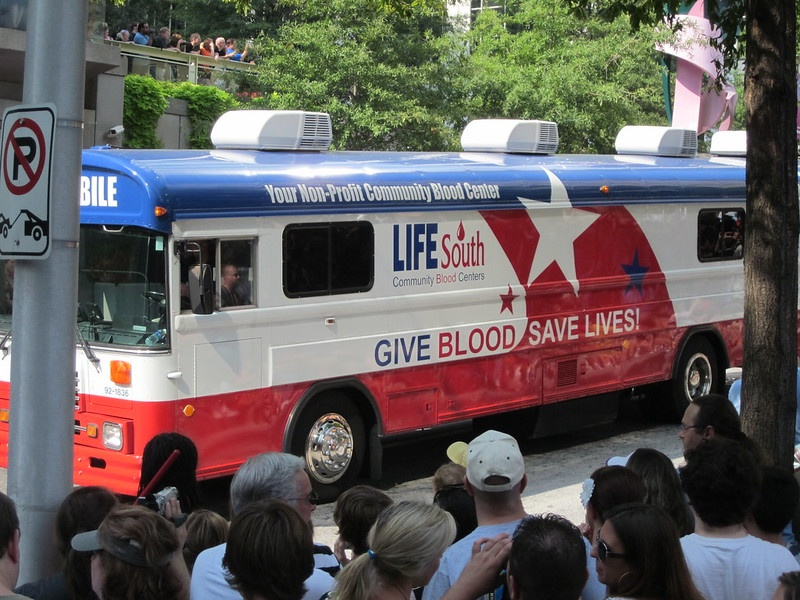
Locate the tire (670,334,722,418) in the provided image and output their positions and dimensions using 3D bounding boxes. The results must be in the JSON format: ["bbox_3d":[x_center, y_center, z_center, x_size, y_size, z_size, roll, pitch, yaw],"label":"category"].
[{"bbox_3d":[4.439,1.186,12.547,1.110,1.229,0.359,8,-2,-34],"label":"tire"}]

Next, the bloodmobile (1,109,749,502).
[{"bbox_3d":[1.306,-0.183,11.523,11.353,4.068,3.625,-4,4,-43],"label":"bloodmobile"}]

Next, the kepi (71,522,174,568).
[{"bbox_3d":[-1.218,1.060,3.511,0.446,0.154,0.143,0,1,3],"label":"kepi"}]

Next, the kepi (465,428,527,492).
[{"bbox_3d":[0.479,0.780,4.260,0.293,0.182,0.496,-3,16,6],"label":"kepi"}]

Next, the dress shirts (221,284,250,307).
[{"bbox_3d":[-1.619,-0.043,8.054,0.217,0.236,0.089,-8,7,-44],"label":"dress shirts"}]

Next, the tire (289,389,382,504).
[{"bbox_3d":[-0.659,1.373,7.978,0.495,1.369,1.138,-4,1,40],"label":"tire"}]
